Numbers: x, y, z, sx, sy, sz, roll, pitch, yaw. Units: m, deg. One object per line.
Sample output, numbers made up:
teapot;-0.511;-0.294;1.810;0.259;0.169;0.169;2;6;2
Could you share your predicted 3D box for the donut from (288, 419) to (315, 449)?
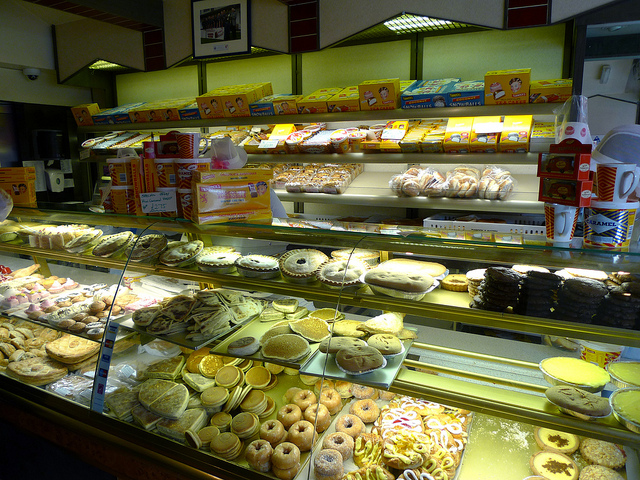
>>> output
donut;-0.083;0.826;1.824;0.121;0.072;0.098;-2;-3;-4

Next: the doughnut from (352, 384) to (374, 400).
doughnut;0.201;0.710;1.998;0.099;0.058;0.037;-1;16;3

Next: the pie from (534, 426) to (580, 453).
pie;0.981;0.836;1.779;0.171;0.059;0.092;3;14;18

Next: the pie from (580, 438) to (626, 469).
pie;1.126;0.858;1.711;0.161;0.071;0.099;4;15;24

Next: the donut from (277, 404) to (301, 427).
donut;-0.140;0.772;1.881;0.100;0.028;0.080;-2;21;8

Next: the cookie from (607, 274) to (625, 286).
cookie;0.994;0.134;1.444;0.006;0.029;0.047;-17;20;-37

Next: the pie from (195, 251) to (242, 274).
pie;-0.473;0.099;1.947;0.240;0.091;0.081;6;17;29

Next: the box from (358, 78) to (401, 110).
box;0.485;-1.145;3.411;0.325;0.151;0.155;3;28;29

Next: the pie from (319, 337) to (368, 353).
pie;0.089;0.439;1.786;0.131;0.023;0.088;-4;4;7

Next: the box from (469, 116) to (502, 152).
box;1.218;-0.780;3.163;0.210;0.258;0.221;3;16;18

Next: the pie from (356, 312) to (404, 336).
pie;0.276;0.362;1.847;0.213;0.042;0.135;-10;15;2

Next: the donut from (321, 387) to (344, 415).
donut;0.056;0.729;1.940;0.137;0.051;0.108;2;13;-10

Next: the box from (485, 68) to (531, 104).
box;1.337;-1.097;3.073;0.303;0.238;0.129;2;17;14

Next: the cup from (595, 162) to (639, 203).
cup;1.017;-0.201;1.493;0.119;0.132;0.119;-2;15;1

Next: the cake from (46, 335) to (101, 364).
cake;-1.304;0.576;2.254;0.260;0.044;0.257;9;10;39

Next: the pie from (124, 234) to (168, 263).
pie;-0.832;0.041;2.044;0.215;0.132;0.050;-1;17;2

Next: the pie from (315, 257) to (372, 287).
pie;0.087;0.125;1.726;0.189;0.034;0.140;0;34;9

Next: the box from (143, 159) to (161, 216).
box;-0.764;-0.291;1.938;0.043;0.146;0.079;-13;19;-29

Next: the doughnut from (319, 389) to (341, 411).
doughnut;0.051;0.721;1.941;0.125;0.073;0.099;-1;9;-1

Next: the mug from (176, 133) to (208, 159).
mug;-0.587;-0.414;1.884;0.121;0.113;0.067;1;16;11

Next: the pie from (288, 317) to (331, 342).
pie;-0.039;0.388;1.870;0.099;0.072;0.185;-14;18;-42

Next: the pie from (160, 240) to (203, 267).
pie;-0.650;0.064;2.022;0.198;0.115;0.087;-4;15;-11

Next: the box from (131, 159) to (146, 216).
box;-0.862;-0.265;2.052;0.078;0.248;0.109;-1;0;-23

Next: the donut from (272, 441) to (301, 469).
donut;-0.139;0.883;1.759;0.099;0.030;0.098;13;19;41

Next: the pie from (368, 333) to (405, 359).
pie;0.277;0.437;1.794;0.138;0.043;0.120;10;15;23

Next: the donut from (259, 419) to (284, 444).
donut;-0.208;0.828;1.857;0.105;0.057;0.105;-1;13;1

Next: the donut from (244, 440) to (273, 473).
donut;-0.249;0.893;1.773;0.136;0.080;0.108;-1;5;-8

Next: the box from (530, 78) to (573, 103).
box;1.620;-1.054;3.020;0.262;0.164;0.238;4;15;21

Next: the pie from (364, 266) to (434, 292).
pie;0.304;0.150;1.670;0.249;0.077;0.059;4;17;24

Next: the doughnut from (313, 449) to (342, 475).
doughnut;0.031;0.906;1.746;0.107;0.045;0.098;-1;13;1

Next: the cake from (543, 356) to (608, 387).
cake;0.950;0.491;1.598;0.152;0.024;0.135;-6;13;-31

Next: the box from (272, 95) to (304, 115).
box;-0.279;-1.142;3.725;0.240;0.104;0.267;0;16;2

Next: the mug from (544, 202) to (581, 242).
mug;0.893;-0.068;1.576;0.127;0.143;0.107;0;16;7

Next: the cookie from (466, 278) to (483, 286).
cookie;0.569;0.157;1.588;0.032;0.008;0.030;-7;10;-36

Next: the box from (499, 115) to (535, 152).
box;1.487;-0.814;3.147;0.330;0.178;0.103;1;6;-39

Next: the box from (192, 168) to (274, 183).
box;-0.386;-0.291;1.910;0.340;0.055;0.119;-9;15;-31

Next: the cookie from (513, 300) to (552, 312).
cookie;0.751;0.238;1.518;0.122;0.030;0.017;3;17;18

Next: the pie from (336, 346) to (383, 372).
pie;0.163;0.480;1.735;0.177;0.061;0.094;-4;14;-12

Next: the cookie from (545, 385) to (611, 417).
cookie;0.962;0.578;1.609;0.254;0.038;0.216;3;12;-5

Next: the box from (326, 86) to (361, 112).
box;0.224;-1.167;3.542;0.291;0.211;0.253;3;15;18

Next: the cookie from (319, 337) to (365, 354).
cookie;0.078;0.434;1.788;0.128;0.027;0.086;-7;3;13

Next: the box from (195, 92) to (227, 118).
box;-1.003;-1.225;3.962;0.340;0.218;0.175;1;12;19

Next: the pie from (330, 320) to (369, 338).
pie;0.121;0.379;1.828;0.160;0.060;0.058;-1;15;4

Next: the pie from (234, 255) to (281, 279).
pie;-0.276;0.117;1.876;0.211;0.096;0.076;-1;15;3

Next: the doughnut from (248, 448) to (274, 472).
doughnut;-0.231;0.927;1.799;0.101;0.018;0.079;-4;18;8

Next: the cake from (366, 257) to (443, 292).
cake;0.324;0.133;1.663;0.262;0.112;0.079;5;17;27

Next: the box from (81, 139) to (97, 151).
box;-2.486;-1.016;4.613;0.187;0.052;0.129;-1;32;41
